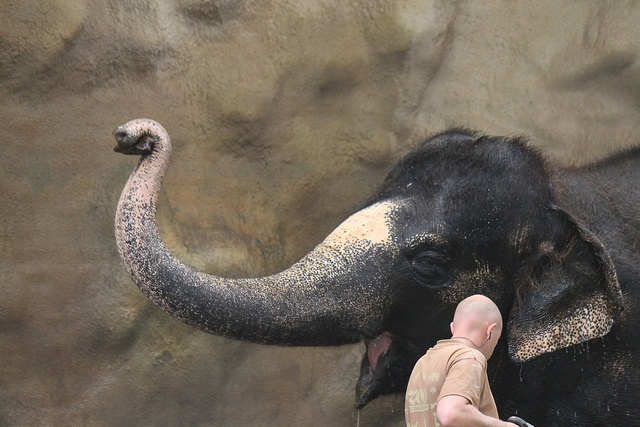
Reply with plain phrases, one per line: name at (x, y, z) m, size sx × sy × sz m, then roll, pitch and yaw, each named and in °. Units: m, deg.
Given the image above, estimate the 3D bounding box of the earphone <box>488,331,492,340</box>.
earphone at (0.582, 0.428, 3.693) m, size 0.010 × 0.017 × 0.012 m, roll 2°, pitch 1°, yaw -17°
